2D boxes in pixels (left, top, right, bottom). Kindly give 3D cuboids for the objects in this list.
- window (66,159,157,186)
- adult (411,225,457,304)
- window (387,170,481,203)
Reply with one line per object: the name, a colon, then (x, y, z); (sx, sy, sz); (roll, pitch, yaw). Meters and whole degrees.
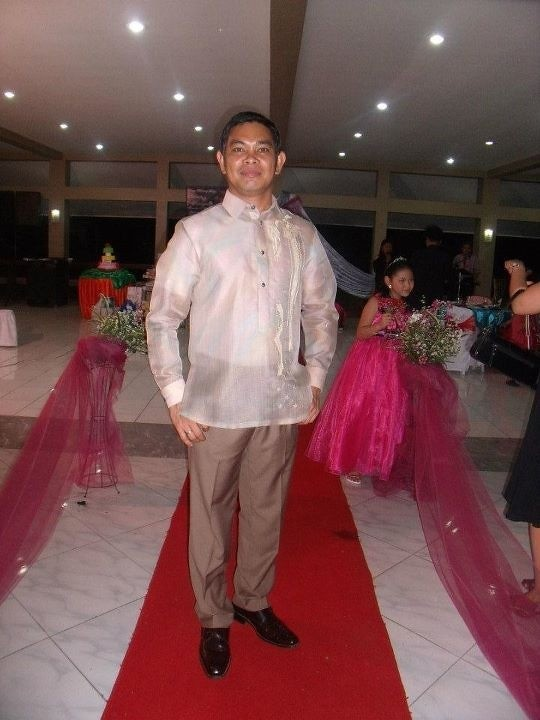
window: (-4.011, -4.746, 12.493); (2.272, 0.663, 0.180); (1, 2, 4)
adult: (1.821, -1.234, 5.727); (0.285, 0.264, 0.850); (17, 46, 13)
window: (4.113, -4.297, 12.198); (2.242, 0.667, 0.282); (0, 2, -7)
